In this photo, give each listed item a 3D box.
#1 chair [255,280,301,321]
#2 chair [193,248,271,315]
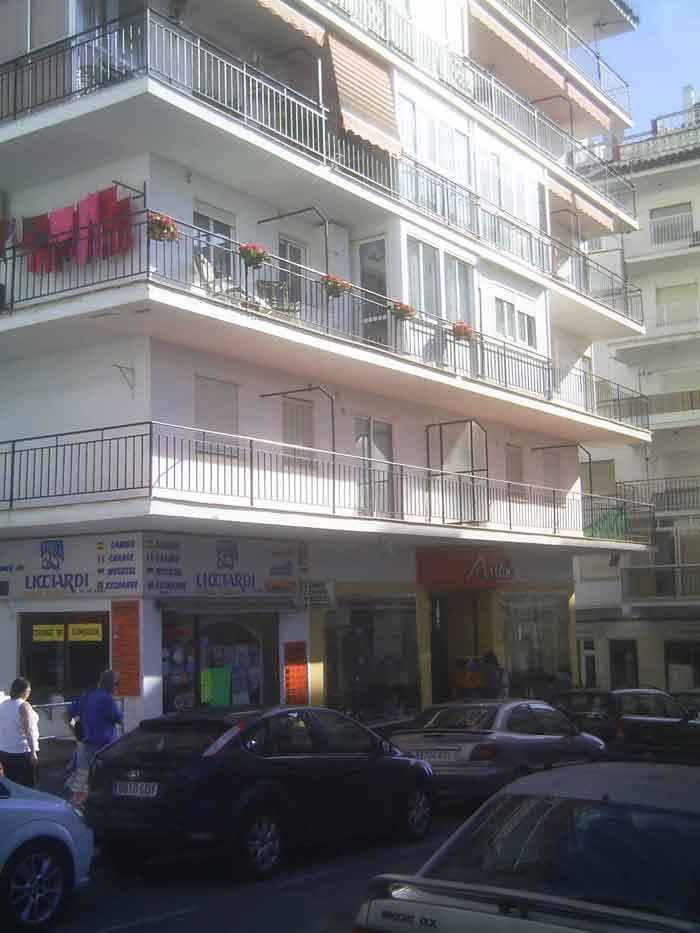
[{"bbox_3d":[-1.083,-2.679,17.318,0.570,0.794,0.736,4,7,29],"label":"chair"},{"bbox_3d":[-1.766,-2.782,16.109,0.797,0.755,1.720,7,1,29],"label":"chair"}]
